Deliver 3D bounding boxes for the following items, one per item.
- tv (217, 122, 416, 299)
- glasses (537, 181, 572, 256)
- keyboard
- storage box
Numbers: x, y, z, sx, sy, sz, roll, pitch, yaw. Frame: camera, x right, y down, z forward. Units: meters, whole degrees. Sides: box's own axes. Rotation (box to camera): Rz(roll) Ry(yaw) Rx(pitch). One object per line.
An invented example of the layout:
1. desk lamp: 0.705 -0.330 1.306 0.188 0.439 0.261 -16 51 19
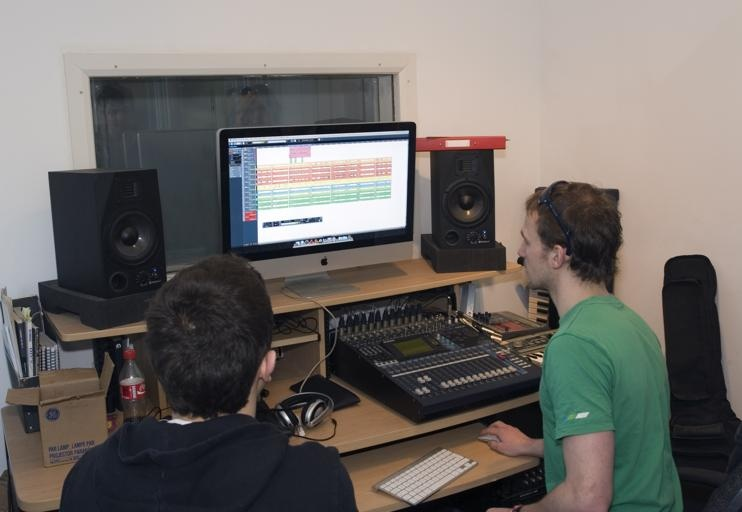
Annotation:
1. tv: -0.251 -0.222 2.585 0.798 0.594 0.207 -6 12 -25
2. glasses: 0.655 -0.139 2.117 0.060 0.216 0.217 -13 33 -8
3. keyboard: 0.210 0.846 2.257 0.188 0.038 0.325 14 14 26
4. storage box: -1.097 0.569 2.196 0.376 0.356 0.375 -6 18 -26
